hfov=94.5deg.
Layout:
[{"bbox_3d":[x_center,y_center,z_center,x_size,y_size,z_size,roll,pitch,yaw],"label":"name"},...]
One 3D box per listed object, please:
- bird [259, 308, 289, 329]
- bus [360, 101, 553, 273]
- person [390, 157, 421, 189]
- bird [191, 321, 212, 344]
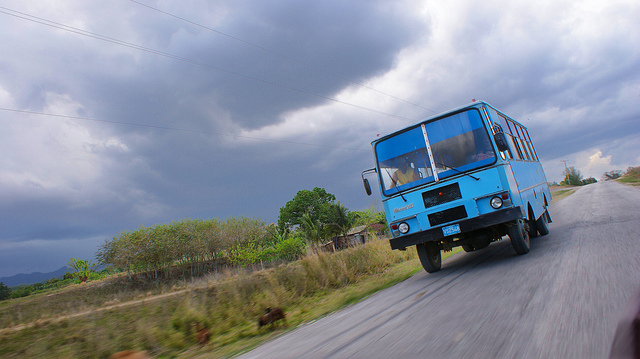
[{"bbox_3d":[-1.366,3.950,8.424,0.727,0.523,0.363,-9,-10,-17],"label":"bird"},{"bbox_3d":[6.905,0.529,13.224,4.603,4.703,9.743,-20,-14,38],"label":"bus"},{"bbox_3d":[3.011,-0.201,10.170,0.814,0.840,0.284,-34,-22,11],"label":"person"},{"bbox_3d":[-3.310,4.341,8.425,0.401,0.480,0.633,-8,-10,-24],"label":"bird"}]
